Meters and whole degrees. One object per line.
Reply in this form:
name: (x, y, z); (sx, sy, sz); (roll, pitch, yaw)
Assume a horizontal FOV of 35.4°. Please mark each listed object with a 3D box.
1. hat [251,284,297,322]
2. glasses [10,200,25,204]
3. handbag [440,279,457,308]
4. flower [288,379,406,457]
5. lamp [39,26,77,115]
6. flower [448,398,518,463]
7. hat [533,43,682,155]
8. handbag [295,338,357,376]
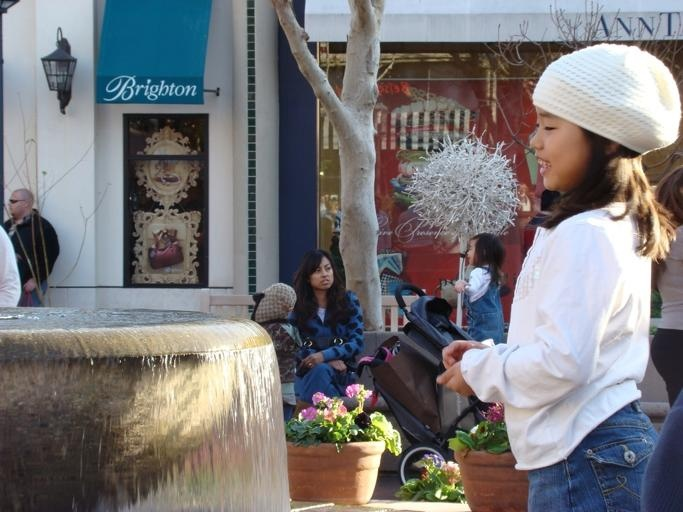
hat: (-0.497, 0.343, 7.790); (0.306, 0.290, 0.185); (-1, -3, -6)
glasses: (-3.464, -0.582, 11.331); (0.077, 0.024, 0.078); (6, -2, -21)
handbag: (0.950, 0.335, 9.558); (0.130, 0.262, 0.201); (-13, 14, -20)
flower: (0.036, 0.996, 6.862); (0.684, 0.371, 0.646); (-5, 9, 20)
lamp: (-3.149, -2.096, 11.892); (0.359, 0.958, 0.399); (0, -3, -13)
flower: (0.821, 1.014, 6.240); (0.339, 0.224, 0.344); (-9, -11, 38)
hat: (1.127, -0.617, 4.525); (0.514, 0.430, 0.425); (9, 3, 11)
handbag: (-0.212, 0.719, 7.878); (0.247, 0.129, 0.338); (-11, 8, -32)
